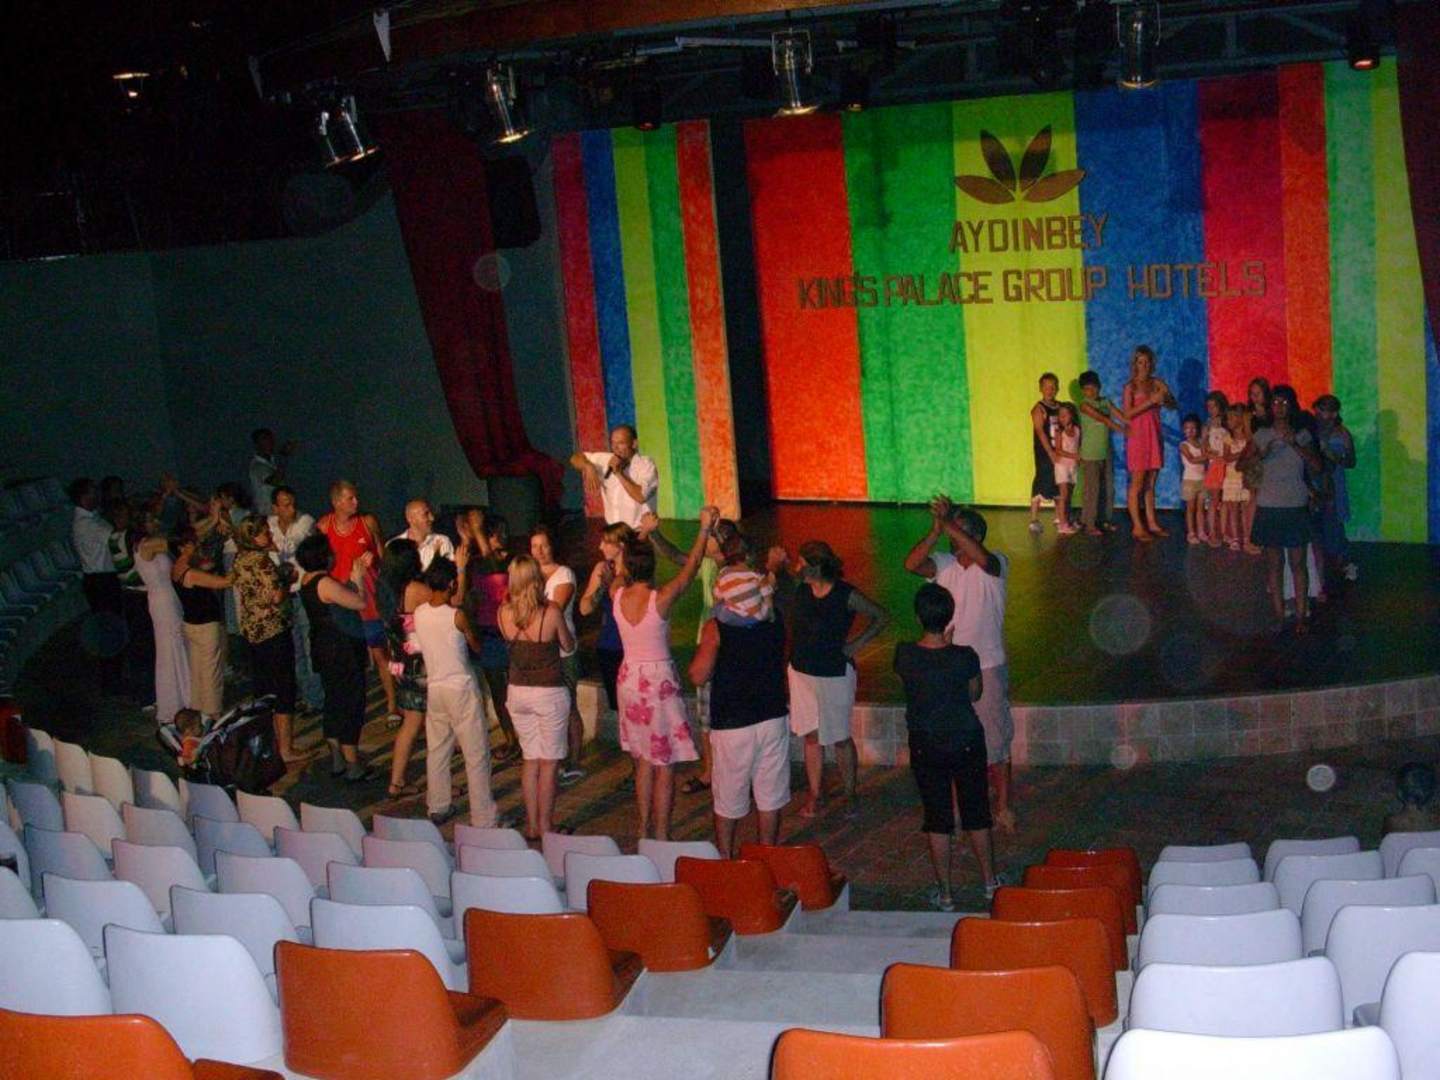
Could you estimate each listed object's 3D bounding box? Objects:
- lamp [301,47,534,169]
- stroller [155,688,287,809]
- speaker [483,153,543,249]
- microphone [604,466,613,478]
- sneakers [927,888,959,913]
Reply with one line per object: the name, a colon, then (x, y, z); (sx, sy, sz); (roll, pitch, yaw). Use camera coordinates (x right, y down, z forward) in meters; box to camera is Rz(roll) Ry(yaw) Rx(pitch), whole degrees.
lamp: (-2.385, -3.349, 9.989); (1.310, 0.536, 0.706); (-4, 33, 14)
stroller: (-3.060, 1.286, 7.901); (0.722, 0.426, 0.876); (3, 5, 39)
speaker: (-2.238, -3.651, 13.979); (0.548, 0.986, 0.263); (-6, 10, -10)
microphone: (-0.806, -0.472, 9.265); (0.051, 0.082, 0.018); (10, 5, 34)
sneakers: (1.148, 1.851, 6.603); (0.070, 0.082, 0.176); (-3, 18, -6)
